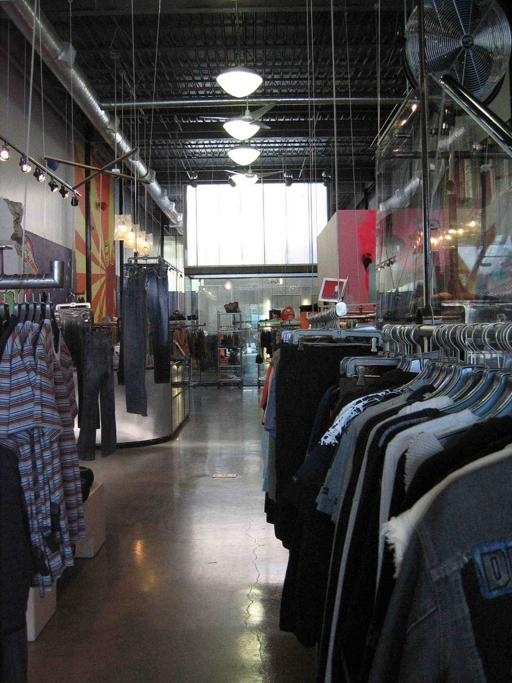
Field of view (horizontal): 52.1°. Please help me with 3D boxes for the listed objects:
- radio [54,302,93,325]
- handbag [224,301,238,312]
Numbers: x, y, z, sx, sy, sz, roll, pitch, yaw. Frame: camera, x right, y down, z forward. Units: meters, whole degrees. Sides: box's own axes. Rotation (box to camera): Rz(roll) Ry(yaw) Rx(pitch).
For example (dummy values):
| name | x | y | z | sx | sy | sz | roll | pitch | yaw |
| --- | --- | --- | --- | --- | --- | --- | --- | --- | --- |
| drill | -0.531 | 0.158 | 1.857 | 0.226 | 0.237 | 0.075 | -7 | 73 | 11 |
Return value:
| name | x | y | z | sx | sy | sz | roll | pitch | yaw |
| --- | --- | --- | --- | --- | --- | --- | --- | --- | --- |
| radio | -1.440 | -0.237 | 4.179 | 0.251 | 0.202 | 0.397 | -1 | 1 | -11 |
| handbag | -0.728 | -1.080 | 15.644 | 0.278 | 0.295 | 0.262 | 0 | 3 | 4 |
